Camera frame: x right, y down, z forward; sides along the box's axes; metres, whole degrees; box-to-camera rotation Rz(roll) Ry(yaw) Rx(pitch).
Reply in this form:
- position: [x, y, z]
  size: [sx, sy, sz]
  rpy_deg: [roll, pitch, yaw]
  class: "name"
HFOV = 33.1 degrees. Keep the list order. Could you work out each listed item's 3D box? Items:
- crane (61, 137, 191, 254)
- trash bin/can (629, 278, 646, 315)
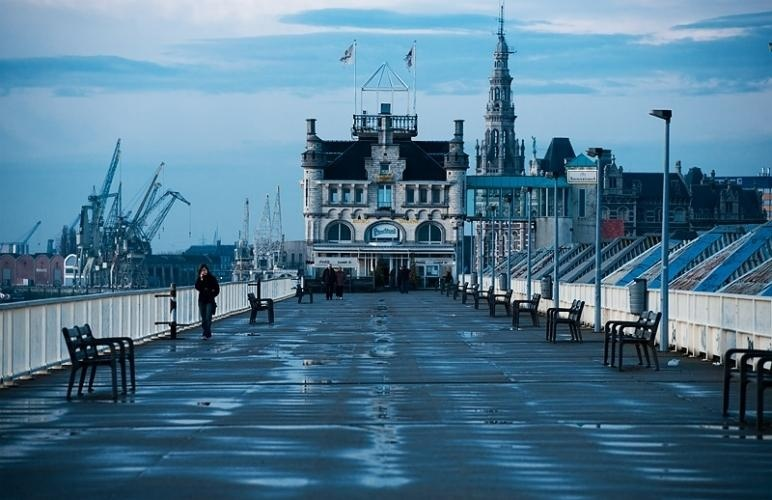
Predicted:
- position: [-31.898, -3.192, 152.084]
  size: [20.275, 16.086, 9.681]
  rpy_deg: [-1, -1, 11]
  class: "crane"
- position: [6.666, 1.246, 33.892]
  size: [0.458, 0.657, 0.945]
  rpy_deg: [-1, 0, 11]
  class: "trash bin/can"
